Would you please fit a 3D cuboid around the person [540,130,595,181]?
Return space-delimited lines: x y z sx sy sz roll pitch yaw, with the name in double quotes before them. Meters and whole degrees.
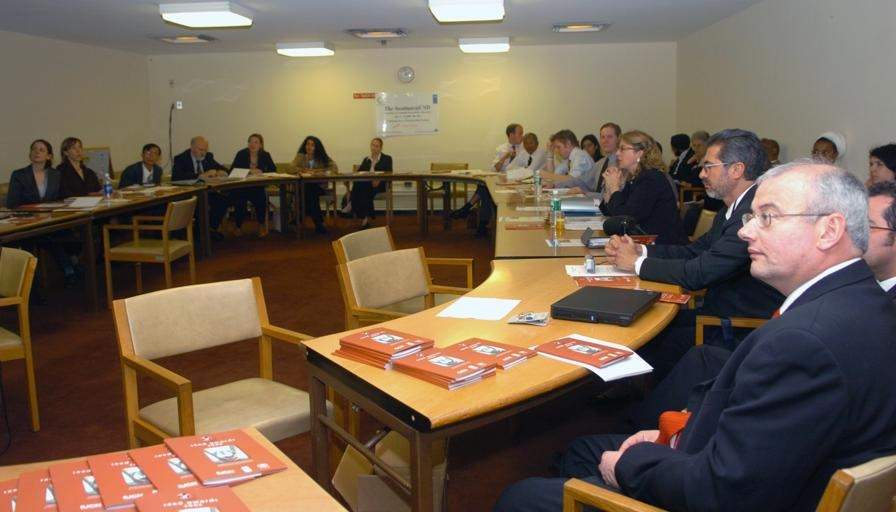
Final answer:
"person" 1.535 -1.299 7.856 0.750 0.572 0.772 2 22 31

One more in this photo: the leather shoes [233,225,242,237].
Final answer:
"leather shoes" -3.152 -0.385 9.205 0.113 0.123 0.192 0 0 -27

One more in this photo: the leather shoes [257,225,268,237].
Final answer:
"leather shoes" -2.787 -0.388 9.180 0.137 0.187 0.206 -1 0 -5

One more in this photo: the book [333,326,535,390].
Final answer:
"book" -0.077 0.435 2.711 0.394 0.054 0.402 8 13 38

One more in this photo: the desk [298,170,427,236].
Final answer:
"desk" -1.337 -0.956 9.755 1.892 0.902 2.164 -2 13 -6

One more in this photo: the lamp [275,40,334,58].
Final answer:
"lamp" -2.278 -3.354 9.940 0.839 0.178 0.956 -1 13 1

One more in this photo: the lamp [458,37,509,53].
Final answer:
"lamp" 0.536 -3.383 9.803 0.754 0.168 0.703 -2 13 -5

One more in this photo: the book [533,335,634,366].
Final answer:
"book" 0.613 0.427 2.752 0.273 0.035 0.363 -11 10 -38

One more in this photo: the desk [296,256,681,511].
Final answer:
"desk" 0.046 0.166 2.755 1.581 0.723 1.044 -10 16 -42

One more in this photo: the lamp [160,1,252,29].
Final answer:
"lamp" -2.900 -2.899 7.339 0.899 0.205 0.770 0 13 3

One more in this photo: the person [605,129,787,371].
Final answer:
"person" 1.626 0.197 3.973 1.161 1.857 0.886 2 23 28
